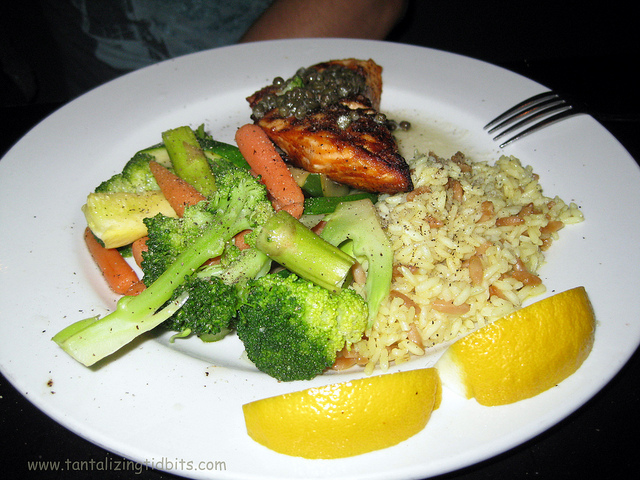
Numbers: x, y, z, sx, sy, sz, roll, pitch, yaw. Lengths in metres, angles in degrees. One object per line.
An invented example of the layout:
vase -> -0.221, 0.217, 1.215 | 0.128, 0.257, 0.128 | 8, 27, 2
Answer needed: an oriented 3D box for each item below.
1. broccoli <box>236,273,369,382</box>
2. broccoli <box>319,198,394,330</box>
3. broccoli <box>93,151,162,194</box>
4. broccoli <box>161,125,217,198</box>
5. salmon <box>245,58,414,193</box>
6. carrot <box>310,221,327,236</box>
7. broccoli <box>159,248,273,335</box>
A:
broccoli -> -0.148, 0.632, 4.051 | 0.876, 0.350, 0.727 | 14, 85, 0
broccoli -> 0.314, 0.152, 4.425 | 0.602, 0.230, 0.927 | 5, 82, 8
broccoli -> -1.510, -0.489, 4.635 | 0.390, 0.110, 0.420 | -10, 55, 7
broccoli -> -1.104, -0.654, 4.791 | 0.273, 0.249, 0.841 | -8, 57, -29
salmon -> 0.139, -1.032, 5.231 | 1.519, 1.403, 1.171 | -14, 107, -16
carrot -> -0.010, -0.099, 4.737 | 0.104, 0.034, 0.111 | -30, 43, -2
broccoli -> -0.718, 0.358, 4.081 | 0.788, 0.473, 0.606 | -12, 112, -27
